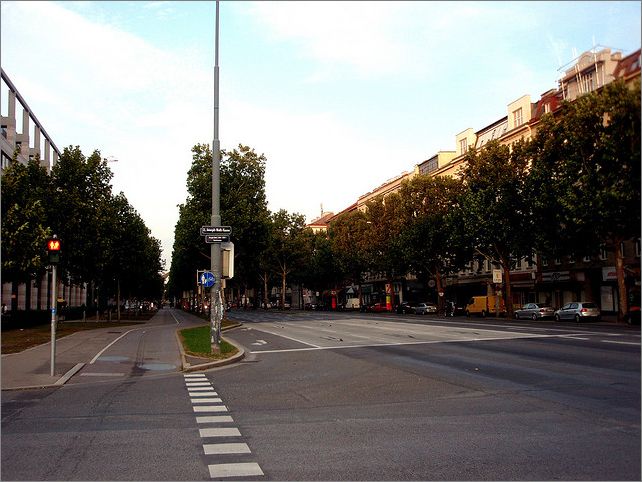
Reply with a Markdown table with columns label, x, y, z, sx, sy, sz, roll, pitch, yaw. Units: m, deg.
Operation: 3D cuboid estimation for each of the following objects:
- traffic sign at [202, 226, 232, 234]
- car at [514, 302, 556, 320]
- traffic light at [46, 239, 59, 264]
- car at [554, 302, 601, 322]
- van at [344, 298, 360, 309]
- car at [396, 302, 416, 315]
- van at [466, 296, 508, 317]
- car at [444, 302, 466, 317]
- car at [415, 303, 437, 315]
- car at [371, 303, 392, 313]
| label | x | y | z | sx | sy | sz | roll | pitch | yaw |
| --- | --- | --- | --- | --- | --- | --- | --- | --- | --- |
| traffic sign | -3.515 | -0.359 | 20.506 | 0.948 | 0.324 | 0.464 | 0 | -3 | -9 |
| car | 16.800 | 5.555 | 48.036 | 1.294 | 1.174 | 3.247 | 0 | -4 | -12 |
| traffic light | -7.270 | 0.285 | 16.694 | 0.230 | 0.732 | 0.556 | 0 | -2 | -18 |
| car | 17.952 | 4.900 | 42.479 | 1.239 | 1.097 | 2.407 | 0 | -3 | -16 |
| van | 5.029 | 9.460 | 92.591 | 1.112 | 1.066 | 1.939 | 3 | -1 | -22 |
| car | 10.466 | 8.281 | 75.672 | 1.921 | 1.329 | 6.153 | -1 | -4 | 7 |
| van | 15.790 | 6.447 | 59.639 | 1.836 | 1.696 | 3.245 | 3 | -3 | -27 |
| car | 14.217 | 7.297 | 64.945 | 1.211 | 1.183 | 2.180 | 0 | 2 | -14 |
| car | 11.440 | 7.612 | 68.572 | 1.952 | 1.244 | 2.876 | 2 | -4 | -38 |
| car | 8.119 | 9.208 | 84.546 | 1.104 | 1.299 | 5.735 | 0 | -4 | -17 |
